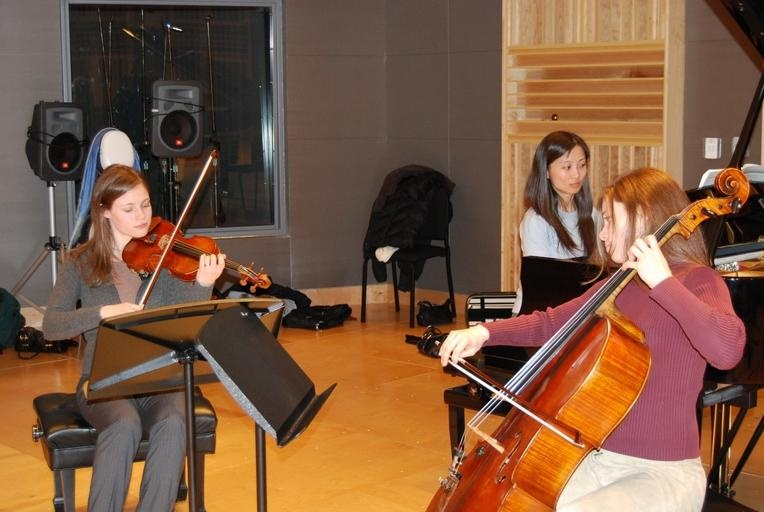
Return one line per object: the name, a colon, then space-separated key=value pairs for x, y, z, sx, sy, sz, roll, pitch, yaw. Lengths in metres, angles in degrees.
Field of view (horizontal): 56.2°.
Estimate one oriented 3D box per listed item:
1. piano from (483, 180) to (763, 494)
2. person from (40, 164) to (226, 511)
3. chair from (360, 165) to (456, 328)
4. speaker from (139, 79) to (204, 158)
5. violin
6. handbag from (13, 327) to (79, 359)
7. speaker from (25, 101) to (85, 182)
piano: x=0.754 y=0.243 z=2.392 sx=0.882 sy=0.952 sz=0.553 roll=0 pitch=12 yaw=2
person: x=-1.135 y=0.462 z=3.256 sx=0.730 sy=1.688 sz=0.879 roll=-7 pitch=14 yaw=-28
chair: x=0.225 y=-0.129 z=6.791 sx=0.917 sy=1.450 sz=0.968 roll=-4 pitch=13 yaw=-21
speaker: x=-1.790 y=-1.181 z=6.262 sx=0.439 sy=0.643 sz=0.347 roll=-1 pitch=-1 yaw=-7
violin: x=-1.067 y=0.042 z=4.023 sx=0.938 sy=0.161 sz=0.386 roll=19 pitch=36 yaw=17
handbag: x=-2.814 y=0.720 z=5.883 sx=0.433 sy=0.189 sz=0.313 roll=3 pitch=-4 yaw=-35
speaker: x=-2.788 y=-1.017 z=6.040 sx=0.470 sy=0.637 sz=0.432 roll=-5 pitch=19 yaw=-35
